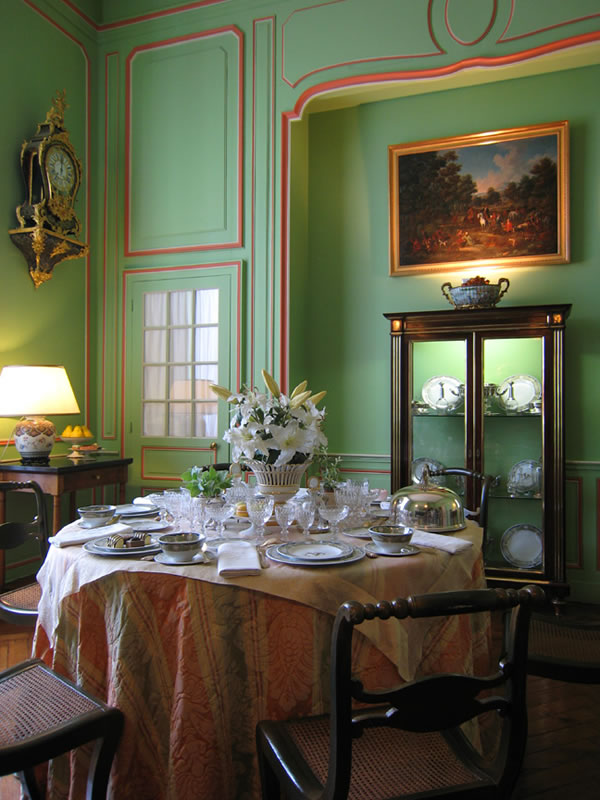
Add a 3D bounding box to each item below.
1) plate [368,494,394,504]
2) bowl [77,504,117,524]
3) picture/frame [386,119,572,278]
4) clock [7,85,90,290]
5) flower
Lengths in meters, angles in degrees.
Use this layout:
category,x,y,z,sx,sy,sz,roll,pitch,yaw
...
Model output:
category,x,y,z,sx,sy,sz,roll,pitch,yaw
plate,0.289,0.354,2.353,0.060,0.016,0.057,-1,0,-15
bowl,-0.583,0.332,1.892,0.069,0.036,0.070,2,-8,0
picture/frame,1.068,-1.153,3.754,1.063,0.778,0.047,0,0,26
clock,-1.377,-1.138,3.593,0.246,1.014,0.401,-1,2,10
flower,-0.084,0.082,2.039,0.310,0.301,0.333,-3,-9,7
